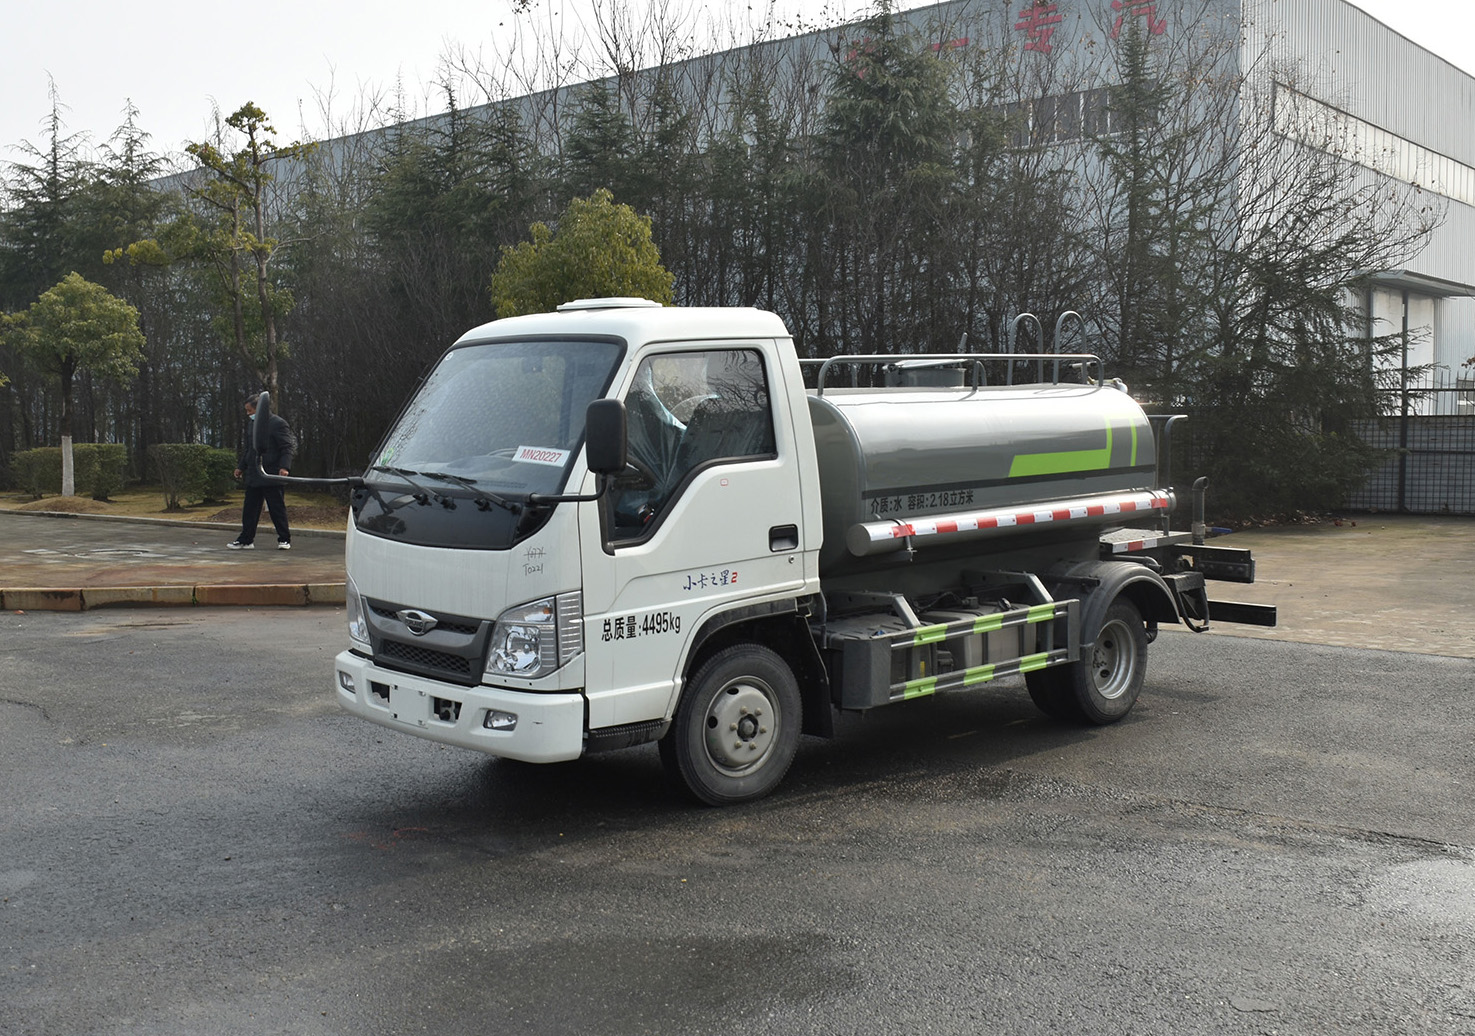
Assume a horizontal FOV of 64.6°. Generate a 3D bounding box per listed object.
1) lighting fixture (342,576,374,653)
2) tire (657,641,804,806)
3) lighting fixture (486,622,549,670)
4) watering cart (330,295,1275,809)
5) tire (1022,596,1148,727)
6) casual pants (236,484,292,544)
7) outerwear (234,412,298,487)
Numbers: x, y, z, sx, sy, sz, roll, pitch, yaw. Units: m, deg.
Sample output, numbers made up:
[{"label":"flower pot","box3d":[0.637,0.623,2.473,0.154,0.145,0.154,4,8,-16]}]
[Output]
[{"label":"lighting fixture","box3d":[-2.444,0.664,7.503,0.147,0.483,0.323,-8,13,-31]},{"label":"tire","box3d":[-0.075,1.298,7.332,0.800,0.929,0.309,14,-11,-38]},{"label":"lighting fixture","box3d":[-1.267,0.778,6.701,0.266,0.265,0.126,1,-10,7]},{"label":"watering cart","box3d":[0.638,-0.206,9.156,7.006,3.427,3.001,0,1,-40]},{"label":"tire","box3d":[2.708,1.130,9.121,0.712,0.803,0.267,20,-2,-39]},{"label":"casual pants","box3d":[-7.597,-0.016,18.655,0.852,1.174,0.367,2,3,-18]},{"label":"outerwear","box3d":[-6.863,-0.958,16.992,0.664,1.098,1.285,-3,8,-26]}]
